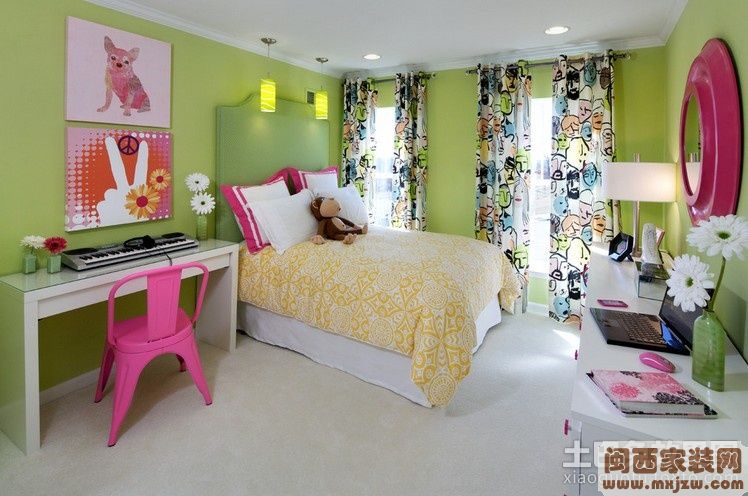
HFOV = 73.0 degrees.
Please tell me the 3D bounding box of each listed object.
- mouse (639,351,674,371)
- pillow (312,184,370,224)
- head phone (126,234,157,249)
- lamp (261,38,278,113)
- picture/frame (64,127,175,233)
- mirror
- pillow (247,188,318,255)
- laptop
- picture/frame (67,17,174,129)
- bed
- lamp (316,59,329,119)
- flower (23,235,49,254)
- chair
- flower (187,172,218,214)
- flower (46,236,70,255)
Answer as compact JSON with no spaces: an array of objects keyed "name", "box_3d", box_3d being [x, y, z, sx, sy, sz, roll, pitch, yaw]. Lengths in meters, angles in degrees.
[{"name":"mouse","box_3d":[1.589,0.629,2.835,0.129,0.046,0.090,8,8,30]},{"name":"pillow","box_3d":[-0.313,-0.421,5.427,0.137,0.454,0.467,-23,-10,38]},{"name":"head phone","box_3d":[-1.940,-0.048,4.200,0.193,0.094,0.149,2,4,22]},{"name":"lamp","box_3d":[-1.090,-1.782,5.239,0.197,0.702,0.499,-3,13,-10]},{"name":"picture/frame","box_3d":[-2.201,-0.595,4.287,0.060,0.885,0.871,3,6,37]},{"name":"mirror","box_3d":[2.222,-0.750,3.355,0.160,1.225,0.929,3,14,19]},{"name":"pillow","box_3d":[-0.836,-0.260,4.818,0.174,0.507,0.677,-32,2,29]},{"name":"laptop","box_3d":[1.656,0.328,3.132,0.520,0.388,0.673,8,12,24]},{"name":"picture/frame","box_3d":[-2.157,-1.487,4.222,0.092,0.901,0.925,10,15,36]},{"name":"bed","box_3d":[0.055,0.378,4.398,1.689,0.650,1.521,13,20,36]},{"name":"lamp","box_3d":[-0.579,-1.785,5.621,0.133,0.634,0.136,-5,18,-24]},{"name":"flower","box_3d":[-2.590,-0.042,3.889,0.165,0.156,0.170,6,-7,-28]},{"name":"chair","box_3d":[-1.732,0.850,3.905,0.740,1.449,0.891,23,23,39]},{"name":"flower","box_3d":[-1.648,-0.515,4.855,0.261,0.421,0.328,-5,13,-17]},{"name":"flower","box_3d":[-2.372,-0.032,3.815,0.145,0.119,0.149,16,19,-37]}]
